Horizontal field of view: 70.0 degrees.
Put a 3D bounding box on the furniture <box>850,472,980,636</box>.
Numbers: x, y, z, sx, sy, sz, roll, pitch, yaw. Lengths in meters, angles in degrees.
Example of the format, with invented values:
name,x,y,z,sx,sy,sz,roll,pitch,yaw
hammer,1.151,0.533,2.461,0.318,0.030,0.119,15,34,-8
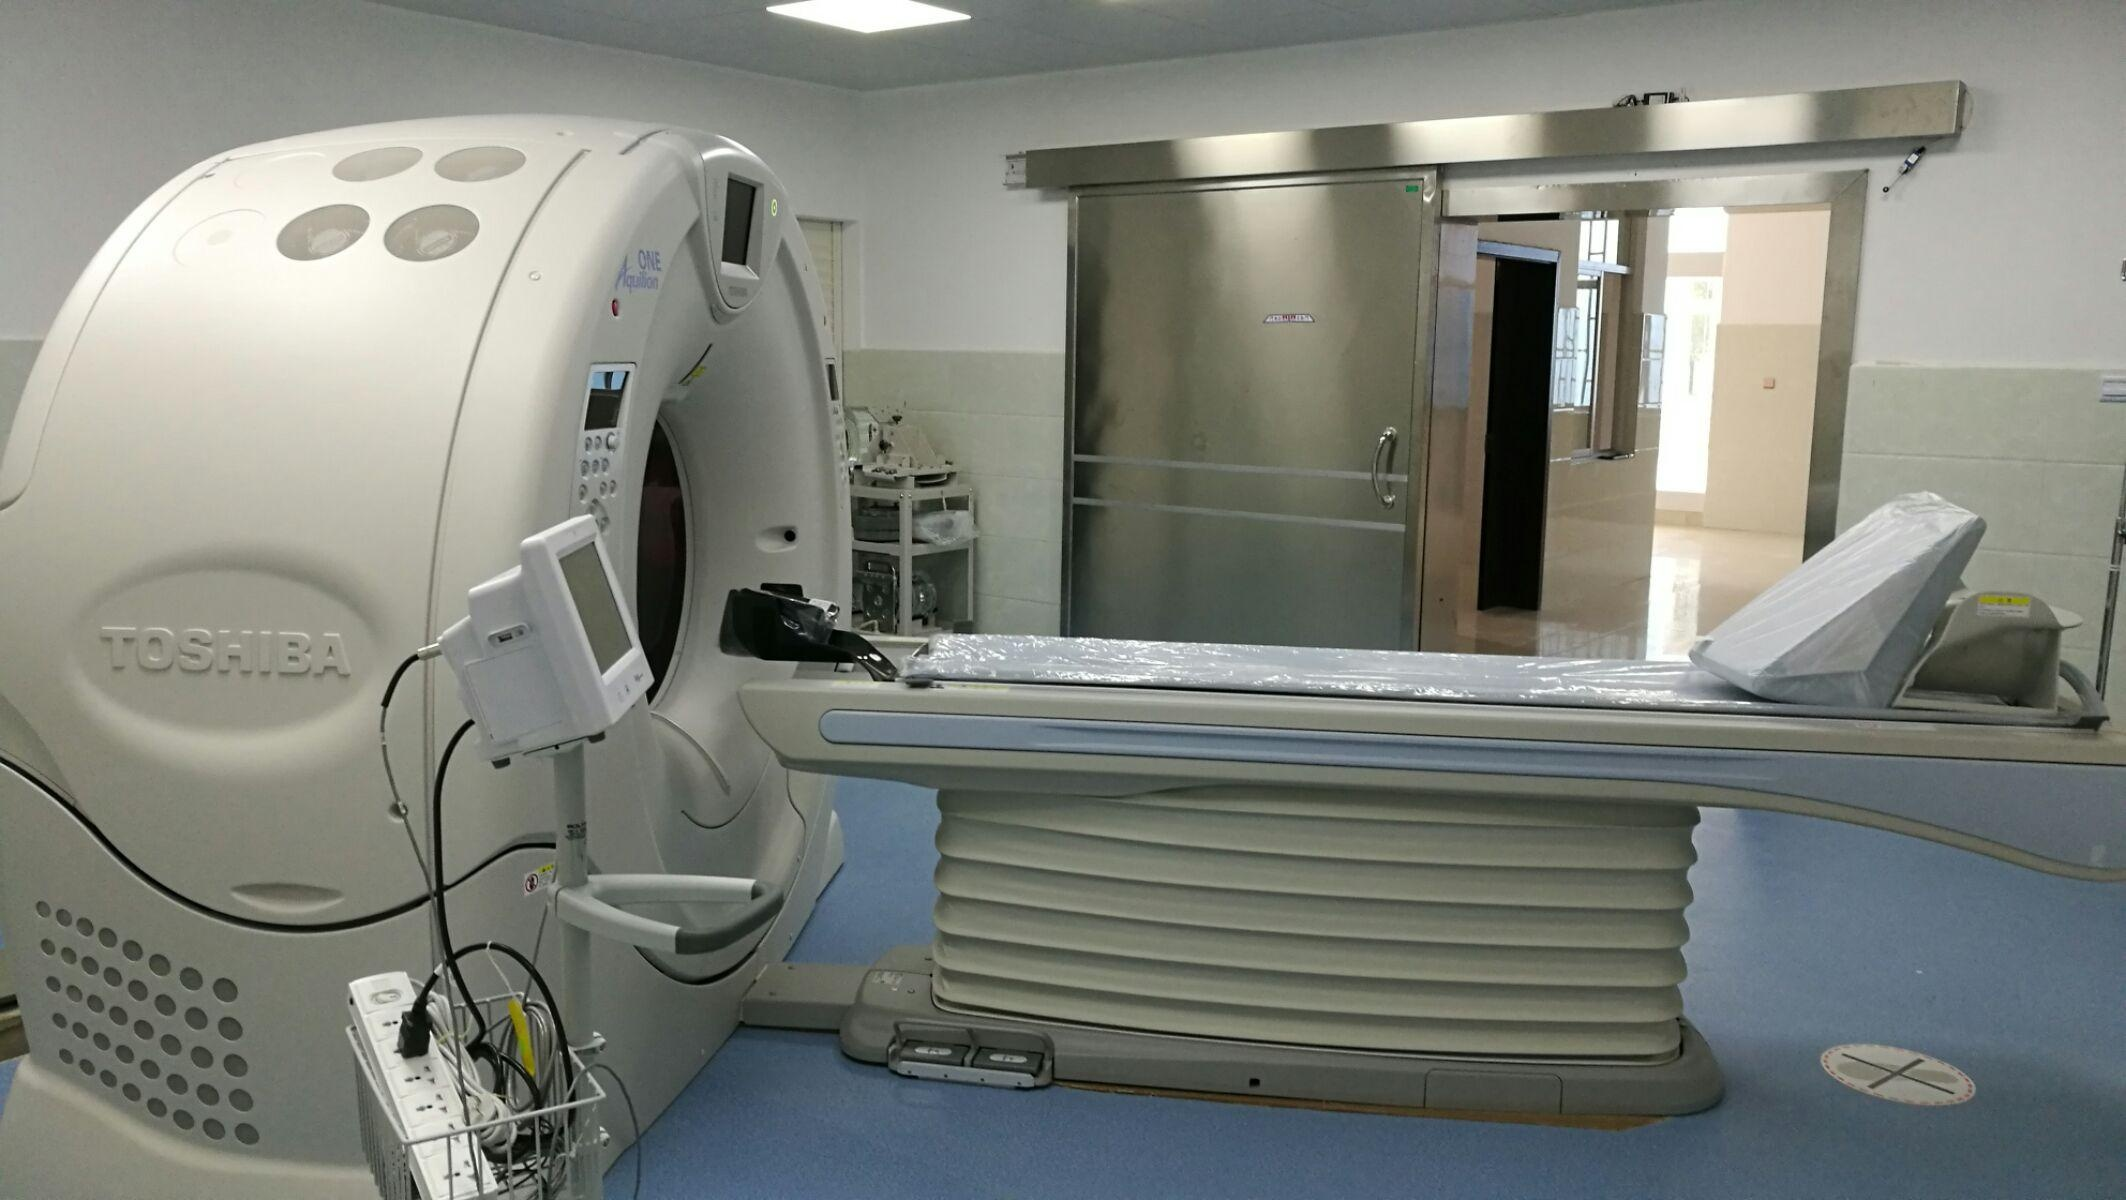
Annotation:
name,x,y,z,sx,sy,sz,roll,pitch,yaw
furniture,-0.776,-0.171,7.587,0.680,0.728,0.619,1,7,-10

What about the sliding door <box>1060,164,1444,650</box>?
name,x,y,z,sx,sy,sz,roll,pitch,yaw
sliding door,0.933,-0.929,6.904,2.393,2.745,0.311,5,11,24
